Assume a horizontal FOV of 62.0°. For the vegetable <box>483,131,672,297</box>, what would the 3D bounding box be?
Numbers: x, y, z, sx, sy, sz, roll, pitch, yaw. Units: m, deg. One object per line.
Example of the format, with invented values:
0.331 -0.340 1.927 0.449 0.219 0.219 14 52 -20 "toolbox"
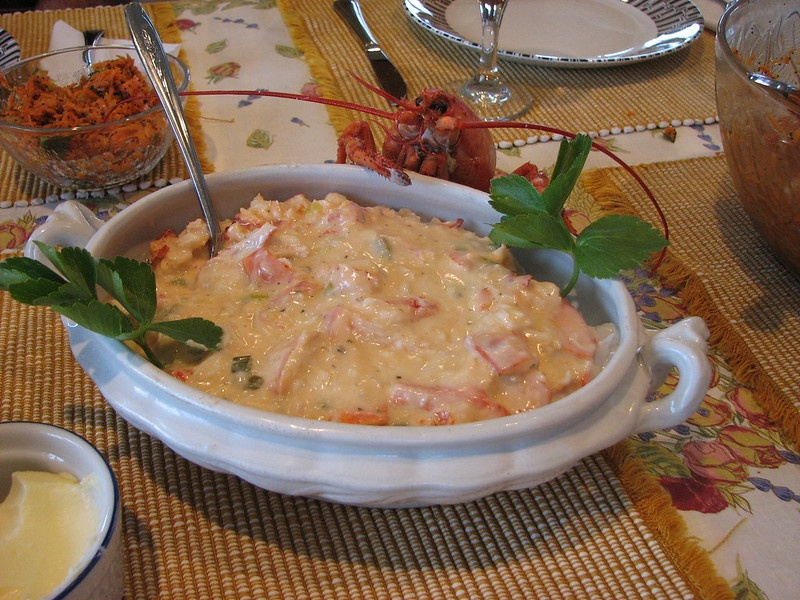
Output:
0.285 -0.124 1.058 0.341 0.271 0.091 -34 57 13 "vegetable"
